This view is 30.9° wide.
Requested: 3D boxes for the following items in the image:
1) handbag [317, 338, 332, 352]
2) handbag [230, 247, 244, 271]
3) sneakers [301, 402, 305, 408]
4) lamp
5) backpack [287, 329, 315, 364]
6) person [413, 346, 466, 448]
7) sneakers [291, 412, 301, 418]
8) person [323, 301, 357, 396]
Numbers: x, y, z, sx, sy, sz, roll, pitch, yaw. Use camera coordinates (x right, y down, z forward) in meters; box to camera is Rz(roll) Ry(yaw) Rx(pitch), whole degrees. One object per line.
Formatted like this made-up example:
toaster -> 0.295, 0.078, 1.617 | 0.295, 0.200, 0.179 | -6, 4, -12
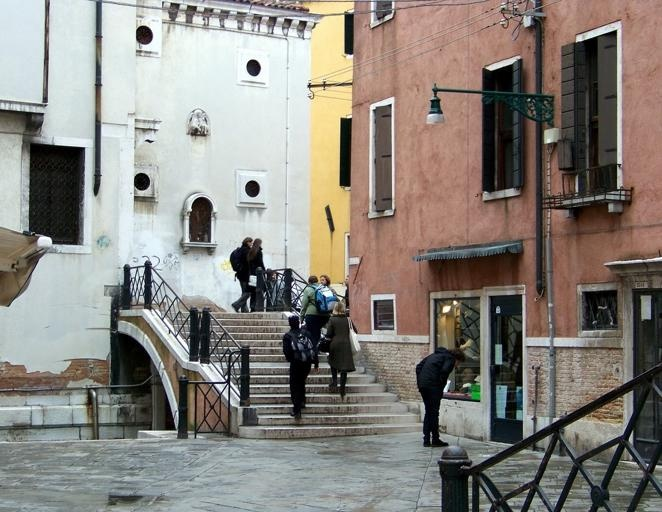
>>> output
handbag -> -0.150, 1.831, 24.780 | 0.200, 0.314, 0.271 | 10, 3, 44
handbag -> -2.335, 0.054, 29.634 | 0.221, 0.609, 0.534 | 2, -6, -24
sneakers -> -0.563, 2.976, 23.979 | 0.083, 0.182, 0.089 | -3, 6, -20
lamp -> 2.927, -2.724, 22.111 | 2.306, 0.826, 0.416 | 4, -24, 8
backpack -> -0.610, 1.766, 23.334 | 0.481, 0.732, 0.385 | 5, -34, -35
person -> 1.978, 2.614, 22.281 | 0.829, 1.831, 0.582 | -1, -5, 11
sneakers -> -0.687, 3.128, 23.610 | 0.193, 0.166, 0.076 | 4, 2, 12
person -> 0.160, 1.963, 24.945 | 0.602, 2.007, 0.984 | 0, -5, 0
